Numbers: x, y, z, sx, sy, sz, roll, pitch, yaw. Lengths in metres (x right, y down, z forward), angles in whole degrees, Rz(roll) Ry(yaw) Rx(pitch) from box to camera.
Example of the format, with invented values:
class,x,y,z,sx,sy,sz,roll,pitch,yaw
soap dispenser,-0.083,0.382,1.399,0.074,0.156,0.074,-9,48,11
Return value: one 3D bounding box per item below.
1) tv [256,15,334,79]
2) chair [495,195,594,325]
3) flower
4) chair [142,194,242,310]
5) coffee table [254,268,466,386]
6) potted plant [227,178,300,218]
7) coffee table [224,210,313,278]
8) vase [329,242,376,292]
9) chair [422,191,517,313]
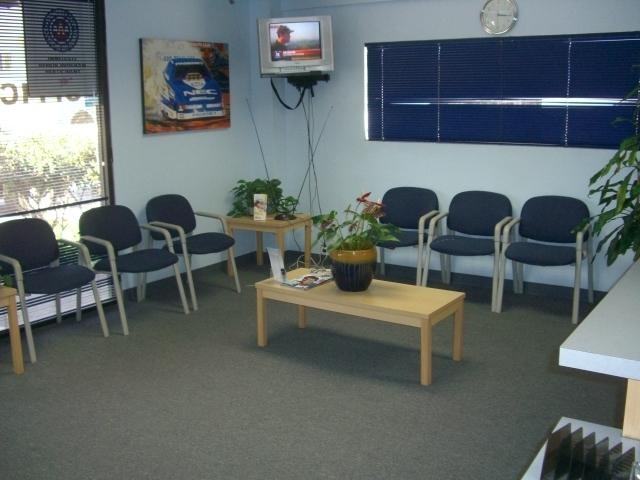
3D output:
class,x,y,z,sx,sy,sz,roll,pitch,yaw
tv,-0.284,-2.113,5.651,0.819,0.592,0.449,-5,10,-5
chair,2.106,0.156,4.708,0.684,1.053,0.724,5,14,38
flower,0.215,-0.137,3.941,0.640,0.505,0.695,1,2,-11
chair,-1.310,0.082,5.179,0.822,1.015,0.728,12,19,34
coffee table,0.316,0.632,3.866,1.478,0.525,0.571,6,16,22
potted plant,-0.669,-0.507,5.824,0.653,0.378,0.483,4,7,18
coffee table,-0.541,-0.030,5.813,0.731,0.657,0.752,3,7,23
vase,0.243,0.221,3.826,0.295,0.266,0.312,-1,-3,-4
chair,1.475,0.051,5.037,0.704,1.016,0.717,8,15,32
